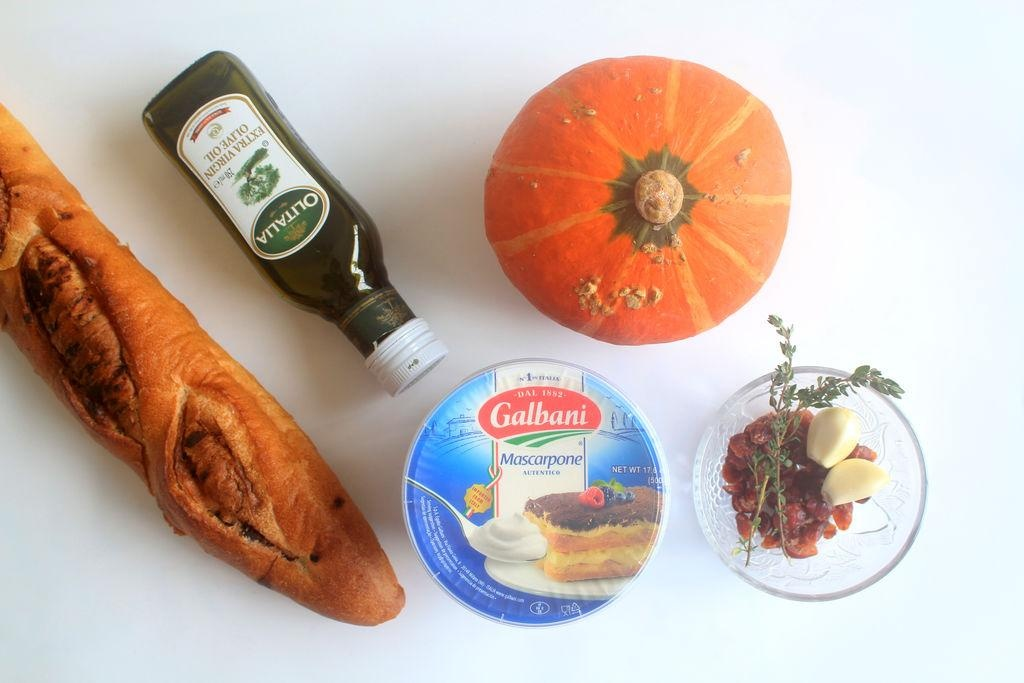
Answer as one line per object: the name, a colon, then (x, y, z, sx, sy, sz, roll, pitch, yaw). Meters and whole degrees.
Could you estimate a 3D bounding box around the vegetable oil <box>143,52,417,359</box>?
vegetable oil: (-0.417, -0.231, 1.763, 0.250, 0.187, 0.675, -40, -91, -11)

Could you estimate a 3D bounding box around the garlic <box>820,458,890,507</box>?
garlic: (0.625, 0.258, 1.677, 0.105, 0.030, 0.079, -28, -93, 4)

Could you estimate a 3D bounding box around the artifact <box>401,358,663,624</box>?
artifact: (0.024, 0.279, 1.683, 0.490, 0.123, 0.519, 0, -91, 0)

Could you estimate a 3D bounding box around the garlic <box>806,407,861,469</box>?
garlic: (0.608, 0.172, 1.715, 0.086, 0.078, 0.104, 37, -116, -25)

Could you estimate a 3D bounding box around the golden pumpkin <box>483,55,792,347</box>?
golden pumpkin: (0.222, -0.248, 1.638, 0.531, 0.302, 0.407, 5, -51, 4)

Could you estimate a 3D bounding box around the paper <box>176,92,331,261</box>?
paper: (-0.475, -0.307, 1.776, 0.199, 0.081, 0.348, -39, -86, 1)
